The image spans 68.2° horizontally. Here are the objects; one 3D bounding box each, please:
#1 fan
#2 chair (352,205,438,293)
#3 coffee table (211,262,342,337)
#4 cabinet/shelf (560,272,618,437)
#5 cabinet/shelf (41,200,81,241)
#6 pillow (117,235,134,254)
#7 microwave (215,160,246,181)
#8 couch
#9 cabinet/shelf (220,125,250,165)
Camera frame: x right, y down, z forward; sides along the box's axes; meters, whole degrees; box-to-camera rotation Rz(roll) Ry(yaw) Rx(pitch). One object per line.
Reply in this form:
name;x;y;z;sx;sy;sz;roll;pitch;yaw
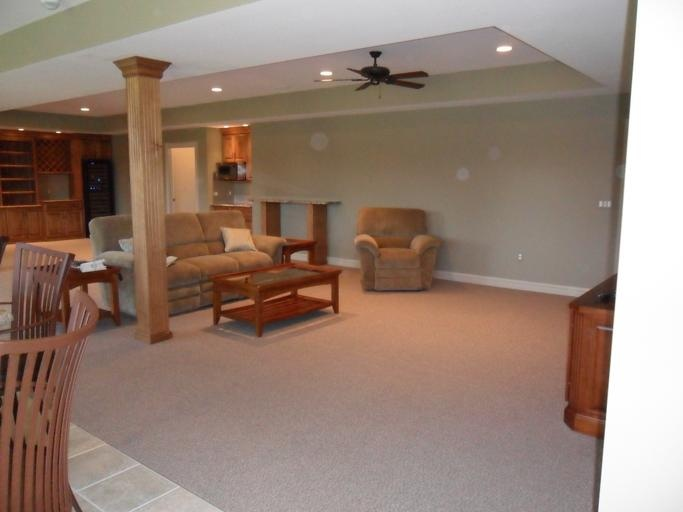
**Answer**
fan;0.380;-2.129;5.741;1.059;0.385;1.115;1;7;-16
chair;0.800;-0.098;7.386;1.153;1.139;1.196;0;9;3
coffee table;-0.729;0.446;5.640;0.843;0.568;1.253;11;16;39
cabinet/shelf;1.989;0.775;3.733;0.353;0.845;1.016;4;2;40
cabinet/shelf;-6.250;-0.790;11.579;0.995;0.920;0.422;-4;-2;1
pillow;-2.418;-0.120;5.714;0.239;0.242;0.097;2;3;18
microwave;-2.333;-1.792;10.680;0.637;0.405;0.399;-3;13;-16
couch;-1.833;0.024;6.419;1.035;1.088;2.305;6;10;39
cabinet/shelf;-2.255;-2.373;10.733;0.768;0.775;0.321;3;7;27
